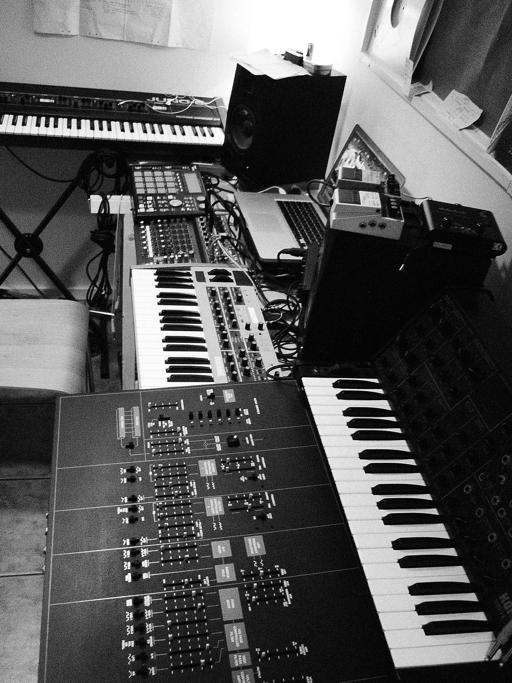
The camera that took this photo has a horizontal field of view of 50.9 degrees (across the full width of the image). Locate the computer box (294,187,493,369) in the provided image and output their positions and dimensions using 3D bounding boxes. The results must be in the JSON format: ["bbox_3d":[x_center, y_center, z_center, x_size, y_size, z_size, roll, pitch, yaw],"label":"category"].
[{"bbox_3d":[0.284,-0.311,1.565,0.489,0.621,0.392,-1,40,-4],"label":"computer box"}]

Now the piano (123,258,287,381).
[{"bbox_3d":[-0.165,-0.033,1.679,0.301,0.171,0.556,-3,46,-10],"label":"piano"}]
